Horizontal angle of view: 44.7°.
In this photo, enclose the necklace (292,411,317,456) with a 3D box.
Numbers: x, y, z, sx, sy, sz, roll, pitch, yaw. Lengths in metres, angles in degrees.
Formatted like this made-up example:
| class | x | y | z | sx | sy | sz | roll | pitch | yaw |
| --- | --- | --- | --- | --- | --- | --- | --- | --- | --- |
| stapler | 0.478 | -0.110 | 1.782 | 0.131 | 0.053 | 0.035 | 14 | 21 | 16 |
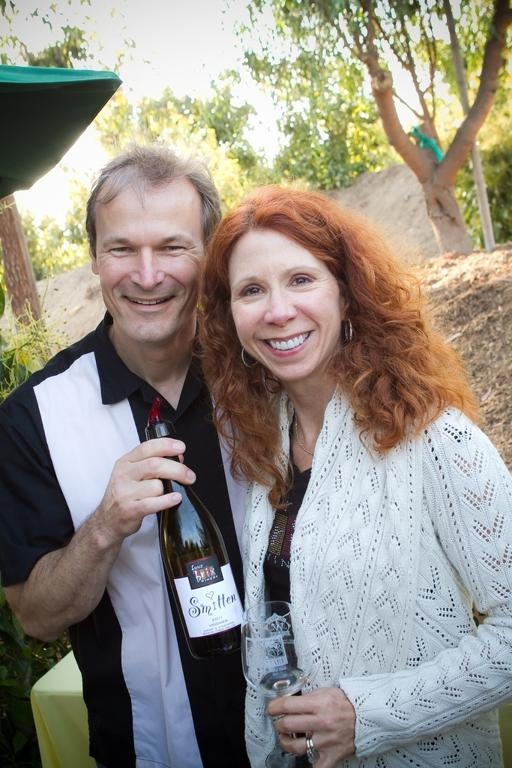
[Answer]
| class | x | y | z | sx | sy | sz | roll | pitch | yaw |
| --- | --- | --- | --- | --- | --- | --- | --- | --- | --- |
| necklace | 0.123 | 0.136 | 1.687 | 0.026 | 0.104 | 0.076 | -28 | -6 | 5 |
